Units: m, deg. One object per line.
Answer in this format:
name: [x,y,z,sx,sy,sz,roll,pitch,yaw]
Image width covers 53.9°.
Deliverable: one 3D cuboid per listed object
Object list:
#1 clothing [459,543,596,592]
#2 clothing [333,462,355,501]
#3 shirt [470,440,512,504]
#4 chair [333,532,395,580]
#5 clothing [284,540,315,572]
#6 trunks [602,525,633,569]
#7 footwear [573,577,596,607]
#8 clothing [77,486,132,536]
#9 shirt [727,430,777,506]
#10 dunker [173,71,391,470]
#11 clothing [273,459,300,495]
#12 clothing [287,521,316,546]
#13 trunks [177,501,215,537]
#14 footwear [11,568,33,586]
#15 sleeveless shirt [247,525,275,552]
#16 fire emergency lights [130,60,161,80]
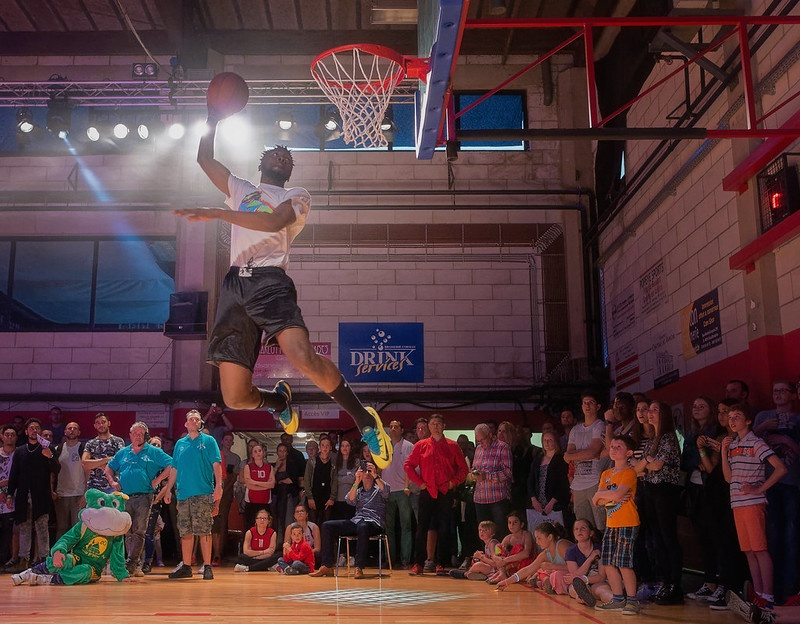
clothing: [1.633,2.945,9.120,0.920,0.601,0.708,1,-36,-18]
clothing: [-0.894,2.779,12.809,0.519,0.621,0.420,2,-26,-4]
shirt: [1.291,2.243,11.024,0.468,0.843,0.674,24,-32,-36]
chair: [-0.523,3.582,11.437,0.801,0.813,0.696,-2,-38,0]
clothing: [-1.481,3.583,11.573,0.420,0.416,0.331,-9,-28,-15]
trunks: [2.224,2.402,8.047,0.204,0.401,0.294,39,-38,-20]
footwear: [1.957,2.971,8.466,0.158,0.382,0.144,17,-46,-40]
clothing: [-3.602,2.403,9.641,0.565,0.499,0.633,18,-38,-29]
shirt: [3.645,1.636,8.161,0.270,0.667,0.517,19,-32,-18]
dunker: [-1.191,-0.673,7.186,1.080,3.326,1.996,-10,-22,25]
clothing: [-1.886,2.743,13.020,0.283,0.610,0.339,-16,-35,19]
clothing: [-1.473,3.284,11.641,0.355,0.446,0.226,-1,-16,-6]
trunks: [-2.730,2.738,10.471,0.492,0.633,0.356,-2,-26,-2]
footwear: [-4.554,3.222,9.514,0.153,0.140,0.370,-2,4,-3]
sleeveless shirt: [-2.132,3.493,12.091,0.433,0.432,0.251,1,-19,-5]
fire emergency lights: [-5.057,-4.936,15.662,0.540,0.370,0.339,2,4,-3]
